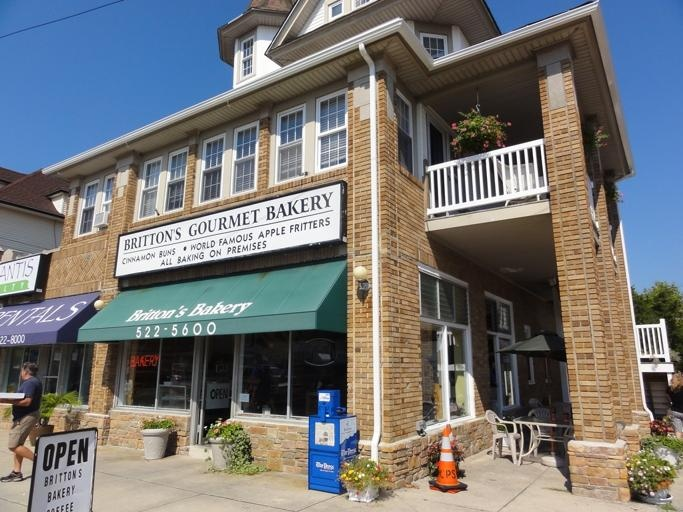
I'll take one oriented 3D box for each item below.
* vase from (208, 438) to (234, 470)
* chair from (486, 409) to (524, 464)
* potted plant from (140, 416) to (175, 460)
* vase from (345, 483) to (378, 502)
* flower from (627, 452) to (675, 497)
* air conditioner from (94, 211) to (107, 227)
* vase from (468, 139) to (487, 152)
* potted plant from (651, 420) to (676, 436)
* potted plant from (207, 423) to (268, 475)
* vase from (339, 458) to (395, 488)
[{"bbox_3d":[-2.938,4.918,12.652,0.689,0.607,0.677,-2,-28,0],"label":"vase"},{"bbox_3d":[4.391,4.951,13.982,1.094,1.674,1.142,-10,-18,36],"label":"chair"},{"bbox_3d":[-5.025,5.090,13.911,0.851,0.722,0.811,-5,-18,-4],"label":"potted plant"},{"bbox_3d":[0.467,4.787,10.470,0.425,0.256,0.415,-6,-13,30],"label":"vase"},{"bbox_3d":[6.255,4.486,10.435,0.835,0.805,0.361,-9,-19,22],"label":"flower"},{"bbox_3d":[-8.355,-1.277,17.861,0.218,0.625,0.801,14,-23,-40],"label":"air conditioner"},{"bbox_3d":[3.472,-2.852,13.158,0.317,0.259,0.313,-1,-2,18],"label":"vase"},{"bbox_3d":[10.197,5.534,16.351,0.506,0.496,0.499,-1,-15,-9],"label":"potted plant"},{"bbox_3d":[-2.660,4.716,12.488,1.248,1.092,1.061,1,-7,-5],"label":"potted plant"},{"bbox_3d":[0.476,4.484,10.549,0.776,0.428,0.775,3,-5,-14],"label":"vase"}]
